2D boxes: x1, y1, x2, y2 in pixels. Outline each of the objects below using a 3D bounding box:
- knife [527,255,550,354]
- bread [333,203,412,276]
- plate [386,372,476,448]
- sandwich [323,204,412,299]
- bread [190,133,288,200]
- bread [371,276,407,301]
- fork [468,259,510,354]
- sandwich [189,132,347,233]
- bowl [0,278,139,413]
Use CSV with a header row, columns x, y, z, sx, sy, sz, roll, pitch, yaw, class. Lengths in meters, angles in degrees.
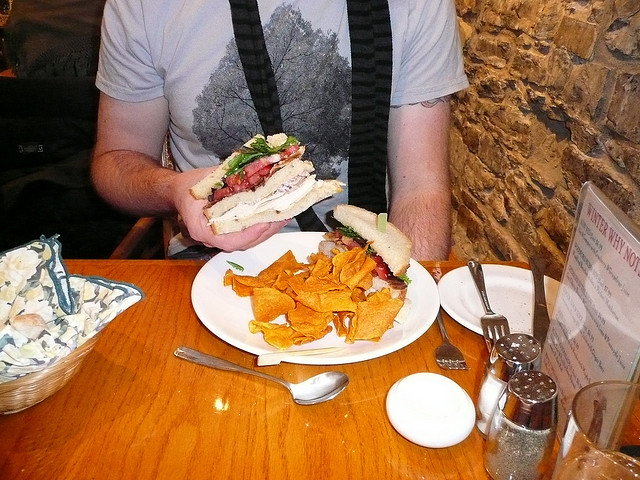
x,y,z,sx,sy,sz,roll,pitch,yaw,class
0.743,0.232,1.468,0.062,0.502,0.025,-5,40,24,knife
0.229,-0.017,1.741,0.216,0.116,0.486,-18,36,-23,bread
0.305,0.500,1.205,0.230,0.240,0.103,-7,76,22,plate
0.254,0.084,1.789,0.210,0.146,0.442,5,12,-24,sandwich
-0.335,-0.320,1.892,0.421,0.102,0.112,-40,11,1,bread
0.257,0.181,1.616,0.078,0.021,0.084,-10,33,-25,bread
0.582,0.228,1.505,0.081,0.043,0.550,-12,15,16,fork
-0.216,-0.228,1.864,0.547,0.273,0.408,-24,78,-15,sandwich
-0.645,0.282,1.188,0.318,0.147,0.295,-12,7,1,bowl
